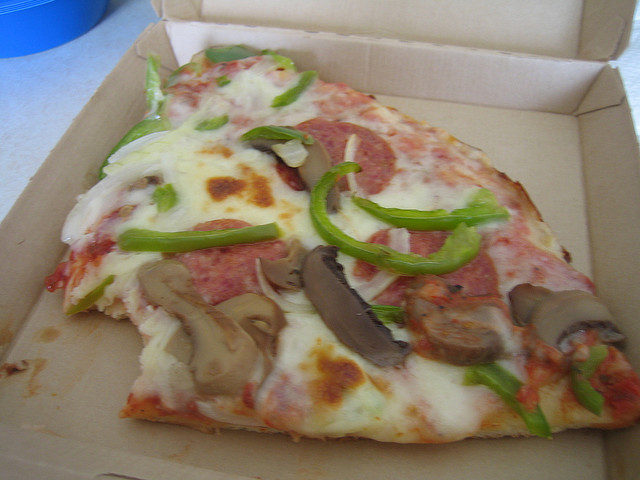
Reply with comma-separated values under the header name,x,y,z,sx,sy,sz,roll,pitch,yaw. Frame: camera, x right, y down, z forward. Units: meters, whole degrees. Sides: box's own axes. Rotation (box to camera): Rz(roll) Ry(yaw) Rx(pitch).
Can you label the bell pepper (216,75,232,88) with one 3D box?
name,x,y,z,sx,sy,sz,roll,pitch,yaw
bell pepper,-0.305,-0.499,1.951,0.055,0.013,0.046,-30,47,-16
